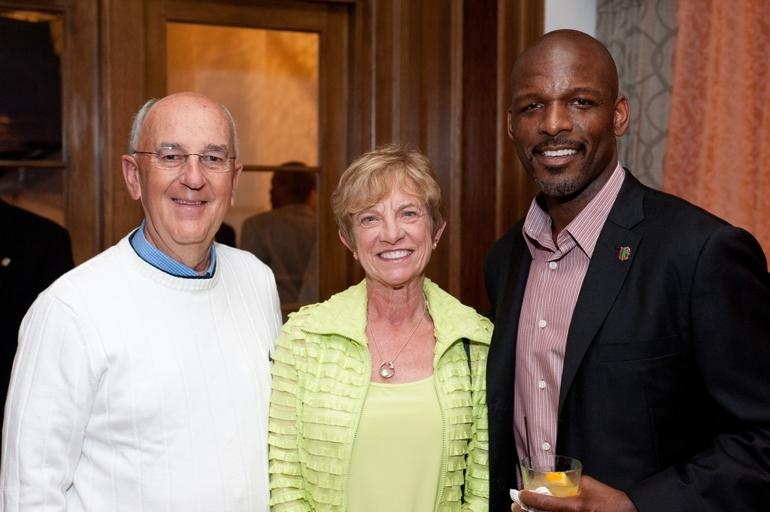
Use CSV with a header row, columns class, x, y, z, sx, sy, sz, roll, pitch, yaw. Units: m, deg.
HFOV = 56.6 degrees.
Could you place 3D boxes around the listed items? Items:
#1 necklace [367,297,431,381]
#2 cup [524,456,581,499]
class,x,y,z,sx,sy,sz,roll,pitch,yaw
necklace,0.070,0.338,2.723,0.116,0.023,0.371,24,56,5
cup,0.528,0.705,2.293,0.125,0.105,0.147,-1,-11,5
